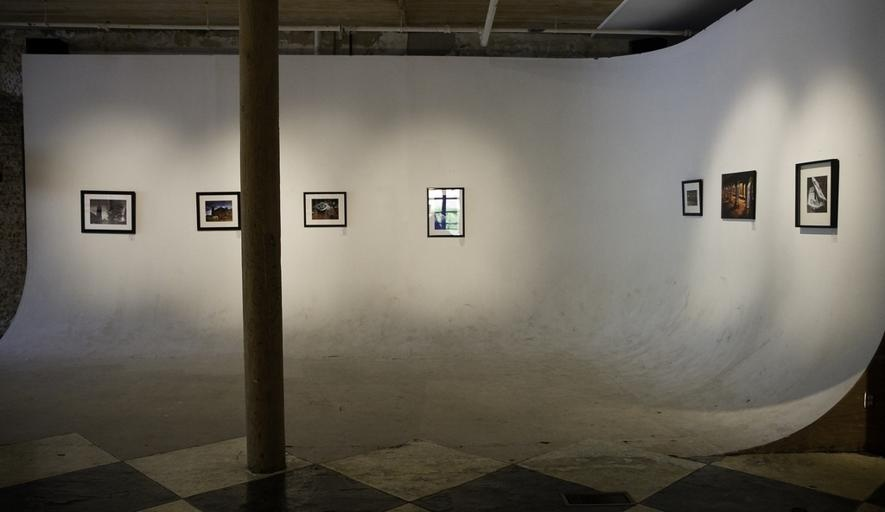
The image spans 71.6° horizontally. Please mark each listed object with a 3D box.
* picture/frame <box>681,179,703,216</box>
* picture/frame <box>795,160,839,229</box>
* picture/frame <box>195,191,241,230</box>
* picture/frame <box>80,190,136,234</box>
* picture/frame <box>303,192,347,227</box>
[{"bbox_3d":[4.382,-1.049,10.782,0.053,0.769,0.645,0,4,-22],"label":"picture/frame"},{"bbox_3d":[5.357,-0.886,8.822,0.104,0.980,0.602,-2,6,-28],"label":"picture/frame"},{"bbox_3d":[-4.178,-0.850,11.436,0.793,0.677,0.047,-5,7,-41],"label":"picture/frame"},{"bbox_3d":[-6.189,-0.847,11.358,0.849,0.699,0.070,0,-2,-2],"label":"picture/frame"},{"bbox_3d":[-2.243,-0.893,11.474,0.674,0.545,0.026,0,-2,-4],"label":"picture/frame"}]
